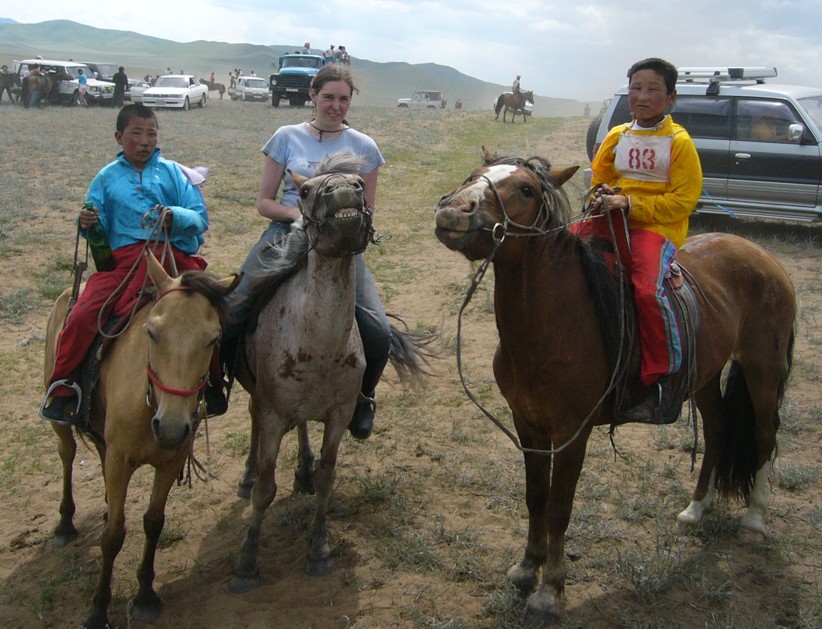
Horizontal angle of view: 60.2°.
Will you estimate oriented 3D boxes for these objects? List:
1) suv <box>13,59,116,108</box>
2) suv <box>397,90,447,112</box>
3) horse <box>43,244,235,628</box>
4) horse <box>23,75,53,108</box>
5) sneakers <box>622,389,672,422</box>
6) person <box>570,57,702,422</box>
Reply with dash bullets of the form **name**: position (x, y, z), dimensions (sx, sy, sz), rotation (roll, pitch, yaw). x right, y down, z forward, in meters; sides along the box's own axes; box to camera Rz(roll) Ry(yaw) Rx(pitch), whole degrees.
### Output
- **suv**: position (-14.535, -9.408, 29.350), dimensions (3.743, 1.695, 2.116), rotation (6, 22, 11)
- **suv**: position (0.842, -14.229, 46.933), dimensions (2.675, 1.041, 2.770), rotation (8, 16, 17)
- **horse**: position (-2.090, 0.851, 5.364), dimensions (1.027, 2.723, 1.687), rotation (-12, 22, -42)
- **horse**: position (-14.586, -8.788, 27.743), dimensions (1.004, 1.277, 1.701), rotation (-4, 17, -25)
- **sneakers**: position (1.713, 0.656, 5.265), dimensions (0.337, 0.294, 0.205), rotation (3, 6, 0)
- **person**: position (1.669, -0.598, 5.190), dimensions (0.878, 2.429, 0.816), rotation (7, 16, 14)
